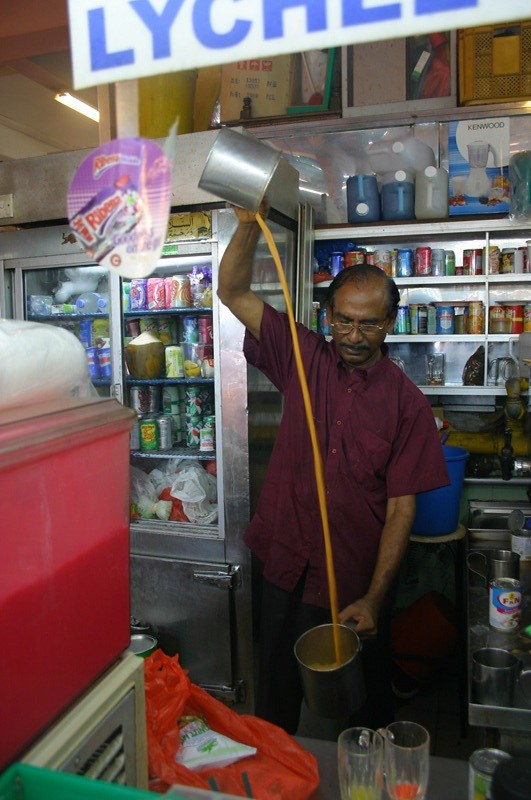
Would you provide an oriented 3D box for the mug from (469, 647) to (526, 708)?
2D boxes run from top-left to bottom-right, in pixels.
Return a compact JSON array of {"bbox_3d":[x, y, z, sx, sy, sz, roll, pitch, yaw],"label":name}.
[{"bbox_3d":[0.480,0.577,1.328,0.115,0.102,0.087,0,-11,1],"label":"mug"}]

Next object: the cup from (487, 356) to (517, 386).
[{"bbox_3d":[1.162,-0.151,3.106,0.170,0.167,0.099,0,4,6],"label":"cup"}]
